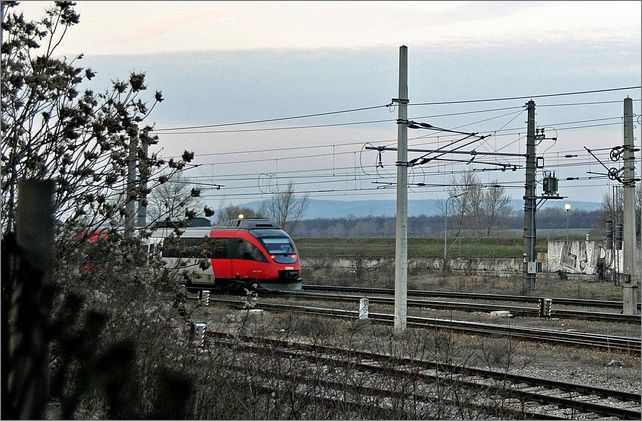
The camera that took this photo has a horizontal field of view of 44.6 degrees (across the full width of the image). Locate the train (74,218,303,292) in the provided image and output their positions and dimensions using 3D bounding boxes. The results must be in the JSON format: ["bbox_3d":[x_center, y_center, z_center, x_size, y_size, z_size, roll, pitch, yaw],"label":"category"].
[{"bbox_3d":[-5.867,2.188,36.898,11.555,3.281,2.690,-2,4,39],"label":"train"}]
